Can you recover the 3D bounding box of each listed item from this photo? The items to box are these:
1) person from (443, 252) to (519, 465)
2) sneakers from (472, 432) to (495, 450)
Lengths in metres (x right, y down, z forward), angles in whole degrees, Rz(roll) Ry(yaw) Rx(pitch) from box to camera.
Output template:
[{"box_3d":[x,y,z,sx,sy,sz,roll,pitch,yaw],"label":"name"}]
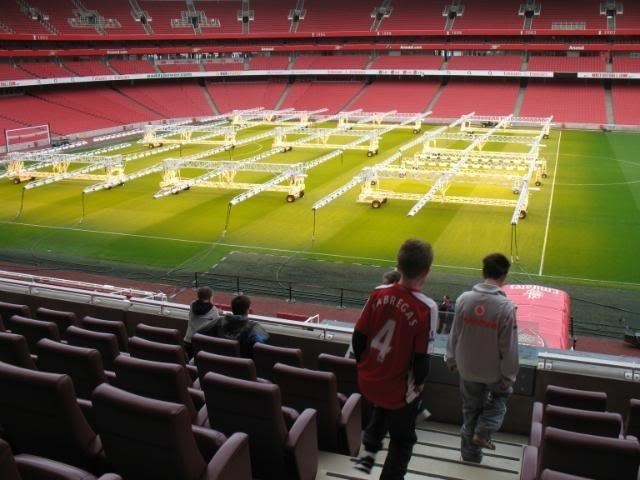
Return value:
[{"box_3d":[1.673,1.225,4.573,0.713,1.669,0.414,7,-2,20],"label":"person"},{"box_3d":[1.639,2.046,4.396,0.226,0.120,0.119,5,-2,8],"label":"sneakers"}]
